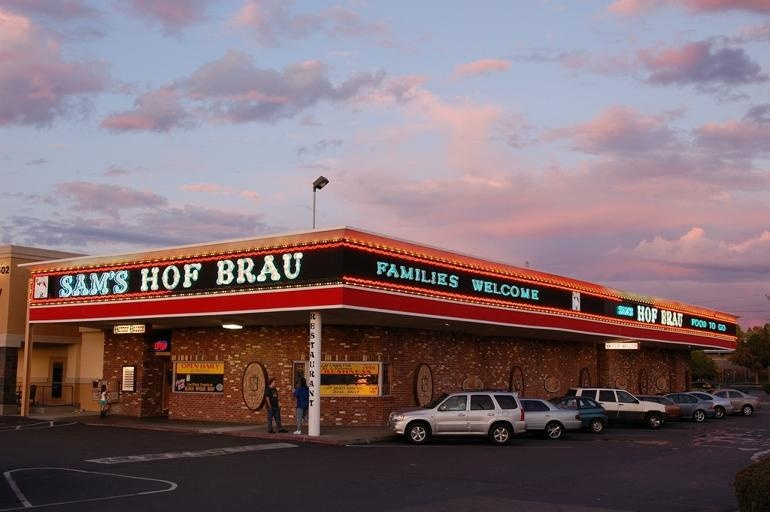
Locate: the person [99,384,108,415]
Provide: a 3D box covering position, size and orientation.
[{"bbox_3d":[-16.066,8.234,44.478,0.383,1.795,0.516,2,-13,-15],"label":"person"}]

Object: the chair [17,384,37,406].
[{"bbox_3d":[-22.224,8.570,48.230,0.988,1.308,2.833,3,-12,-20],"label":"chair"}]

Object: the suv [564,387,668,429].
[{"bbox_3d":[12.736,8.329,42.663,5.513,1.696,2.294,0,-6,-4],"label":"suv"}]

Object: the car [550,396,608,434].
[{"bbox_3d":[9.978,8.020,39.433,2.968,1.119,1.503,5,-8,-6],"label":"car"}]

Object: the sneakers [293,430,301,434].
[{"bbox_3d":[-4.013,8.091,35.566,0.166,0.162,0.465,3,-2,-34],"label":"sneakers"}]

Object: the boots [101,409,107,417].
[{"bbox_3d":[-15.983,8.956,44.187,0.241,0.370,0.463,-6,-10,38],"label":"boots"}]

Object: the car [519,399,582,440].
[{"bbox_3d":[7.606,7.624,36.307,2.676,1.876,1.034,5,-14,-28],"label":"car"}]
